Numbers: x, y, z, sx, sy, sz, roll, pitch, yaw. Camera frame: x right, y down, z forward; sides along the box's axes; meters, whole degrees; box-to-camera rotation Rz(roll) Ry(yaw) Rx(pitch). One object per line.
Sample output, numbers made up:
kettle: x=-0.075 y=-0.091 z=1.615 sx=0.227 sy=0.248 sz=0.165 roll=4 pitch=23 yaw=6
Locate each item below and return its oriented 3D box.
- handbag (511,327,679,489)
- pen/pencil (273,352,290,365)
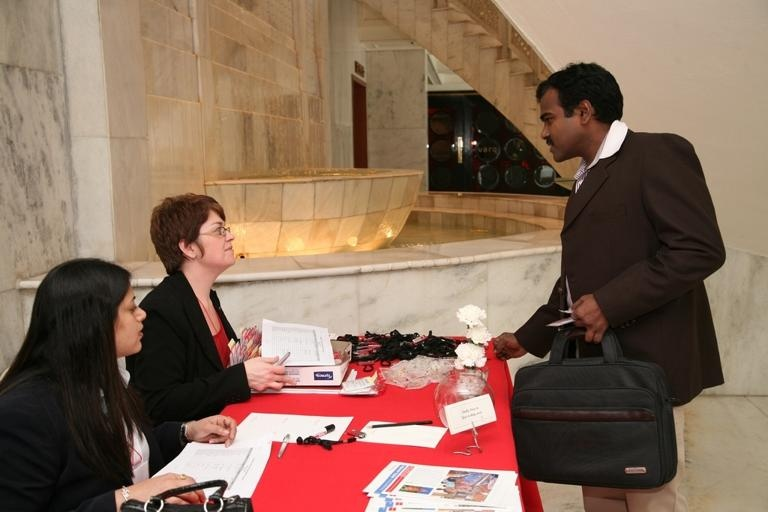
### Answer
handbag: x=0.853 y=0.624 z=2.321 sx=0.675 sy=0.597 sz=0.282 roll=-11 pitch=-16 yaw=41
pen/pencil: x=-0.455 y=0.460 z=2.510 sx=0.103 sy=0.021 sz=0.028 roll=-38 pitch=-2 yaw=-39
